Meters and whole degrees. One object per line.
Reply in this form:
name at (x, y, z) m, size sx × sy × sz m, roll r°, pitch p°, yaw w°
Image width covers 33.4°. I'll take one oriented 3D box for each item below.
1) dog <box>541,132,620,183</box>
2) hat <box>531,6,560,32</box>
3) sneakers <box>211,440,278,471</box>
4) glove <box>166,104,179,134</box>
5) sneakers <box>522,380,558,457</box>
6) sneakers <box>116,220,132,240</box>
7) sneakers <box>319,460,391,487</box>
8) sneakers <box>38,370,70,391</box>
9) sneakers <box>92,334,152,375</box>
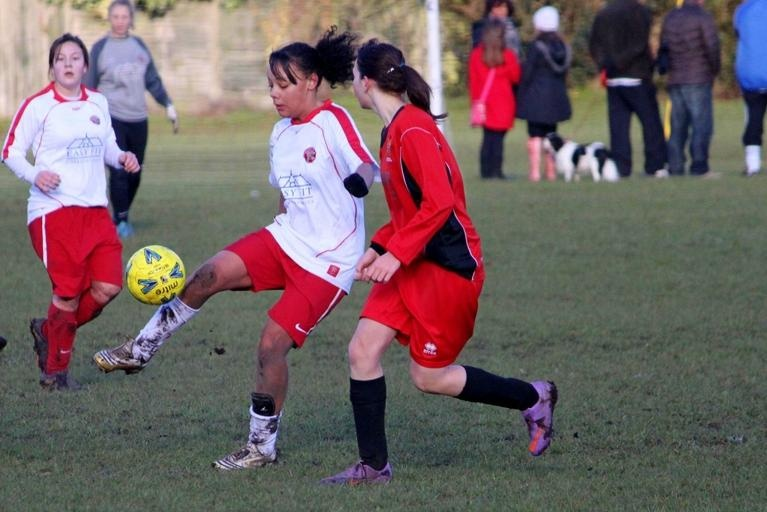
dog at (1.490, -0.744, 9.757) m, size 0.627 × 0.311 × 0.210 m, roll 7°, pitch 3°, yaw -10°
hat at (1.261, -1.823, 9.863) m, size 0.176 × 0.200 × 0.154 m, roll 3°, pitch 6°, yaw 10°
sneakers at (-0.861, 1.251, 8.051) m, size 0.426 × 0.171 × 0.149 m, roll 0°, pitch 4°, yaw -9°
glove at (-1.920, -1.306, 11.670) m, size 0.103 × 0.116 × 0.359 m, roll -11°, pitch 46°, yaw -8°
sneakers at (1.005, 1.012, 8.138) m, size 0.174 × 0.507 × 0.225 m, roll -6°, pitch -6°, yaw 44°
sneakers at (-2.411, -0.251, 11.958) m, size 0.148 × 0.202 × 0.084 m, roll -8°, pitch -2°, yaw -36°
sneakers at (-0.166, 1.334, 7.913) m, size 0.425 × 0.159 × 0.159 m, roll 2°, pitch -6°, yaw -4°
sneakers at (-2.226, 0.844, 8.675) m, size 0.159 × 0.162 × 0.116 m, roll 3°, pitch -13°, yaw -4°
sneakers at (-1.733, 0.667, 8.298) m, size 0.466 × 0.171 × 0.252 m, roll -7°, pitch -16°, yaw -33°
